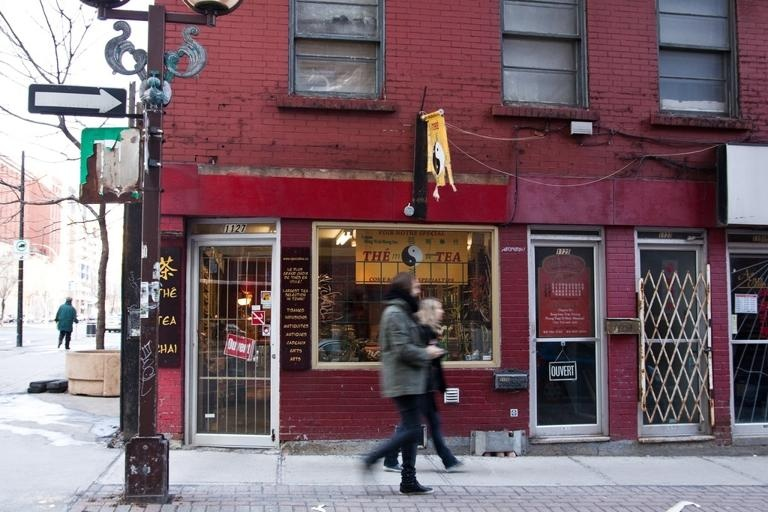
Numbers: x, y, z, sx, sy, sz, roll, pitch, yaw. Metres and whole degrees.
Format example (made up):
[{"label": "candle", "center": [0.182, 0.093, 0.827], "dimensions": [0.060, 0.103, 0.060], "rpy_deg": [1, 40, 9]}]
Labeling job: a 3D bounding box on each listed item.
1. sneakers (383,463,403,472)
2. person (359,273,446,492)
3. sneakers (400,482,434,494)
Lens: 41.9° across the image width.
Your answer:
[{"label": "sneakers", "center": [0.129, 3.350, 15.942], "dimensions": [0.331, 0.129, 0.115], "rpy_deg": [0, -6, 1]}, {"label": "person", "center": [0.298, 1.942, 15.060], "dimensions": [0.944, 3.236, 0.986], "rpy_deg": [2, 11, 3]}, {"label": "sneakers", "center": [0.462, 3.505, 15.228], "dimensions": [0.544, 0.209, 0.177], "rpy_deg": [1, -4, -8]}]
